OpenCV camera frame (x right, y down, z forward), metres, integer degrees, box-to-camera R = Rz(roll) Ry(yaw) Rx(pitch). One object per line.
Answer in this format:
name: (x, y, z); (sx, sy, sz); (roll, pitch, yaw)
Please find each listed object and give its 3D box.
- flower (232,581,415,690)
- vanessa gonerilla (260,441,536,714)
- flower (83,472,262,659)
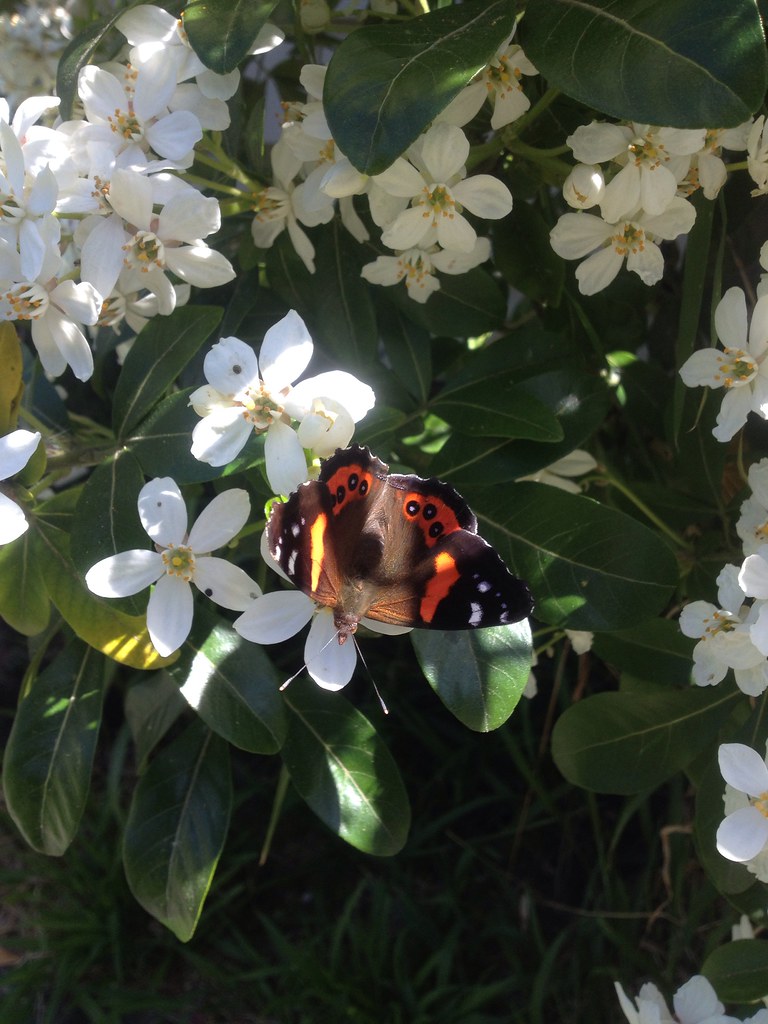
flower: (-0.080, 0.115, 1.034); (0.208, 0.054, 0.088); (15, 90, -5)
vanessa gonerilla: (0.010, 0.030, 0.986); (0.301, 0.226, 0.100); (0, 18, 13)
flower: (-0.206, 0.050, 1.023); (0.175, 0.133, 0.131); (-38, 66, -25)
